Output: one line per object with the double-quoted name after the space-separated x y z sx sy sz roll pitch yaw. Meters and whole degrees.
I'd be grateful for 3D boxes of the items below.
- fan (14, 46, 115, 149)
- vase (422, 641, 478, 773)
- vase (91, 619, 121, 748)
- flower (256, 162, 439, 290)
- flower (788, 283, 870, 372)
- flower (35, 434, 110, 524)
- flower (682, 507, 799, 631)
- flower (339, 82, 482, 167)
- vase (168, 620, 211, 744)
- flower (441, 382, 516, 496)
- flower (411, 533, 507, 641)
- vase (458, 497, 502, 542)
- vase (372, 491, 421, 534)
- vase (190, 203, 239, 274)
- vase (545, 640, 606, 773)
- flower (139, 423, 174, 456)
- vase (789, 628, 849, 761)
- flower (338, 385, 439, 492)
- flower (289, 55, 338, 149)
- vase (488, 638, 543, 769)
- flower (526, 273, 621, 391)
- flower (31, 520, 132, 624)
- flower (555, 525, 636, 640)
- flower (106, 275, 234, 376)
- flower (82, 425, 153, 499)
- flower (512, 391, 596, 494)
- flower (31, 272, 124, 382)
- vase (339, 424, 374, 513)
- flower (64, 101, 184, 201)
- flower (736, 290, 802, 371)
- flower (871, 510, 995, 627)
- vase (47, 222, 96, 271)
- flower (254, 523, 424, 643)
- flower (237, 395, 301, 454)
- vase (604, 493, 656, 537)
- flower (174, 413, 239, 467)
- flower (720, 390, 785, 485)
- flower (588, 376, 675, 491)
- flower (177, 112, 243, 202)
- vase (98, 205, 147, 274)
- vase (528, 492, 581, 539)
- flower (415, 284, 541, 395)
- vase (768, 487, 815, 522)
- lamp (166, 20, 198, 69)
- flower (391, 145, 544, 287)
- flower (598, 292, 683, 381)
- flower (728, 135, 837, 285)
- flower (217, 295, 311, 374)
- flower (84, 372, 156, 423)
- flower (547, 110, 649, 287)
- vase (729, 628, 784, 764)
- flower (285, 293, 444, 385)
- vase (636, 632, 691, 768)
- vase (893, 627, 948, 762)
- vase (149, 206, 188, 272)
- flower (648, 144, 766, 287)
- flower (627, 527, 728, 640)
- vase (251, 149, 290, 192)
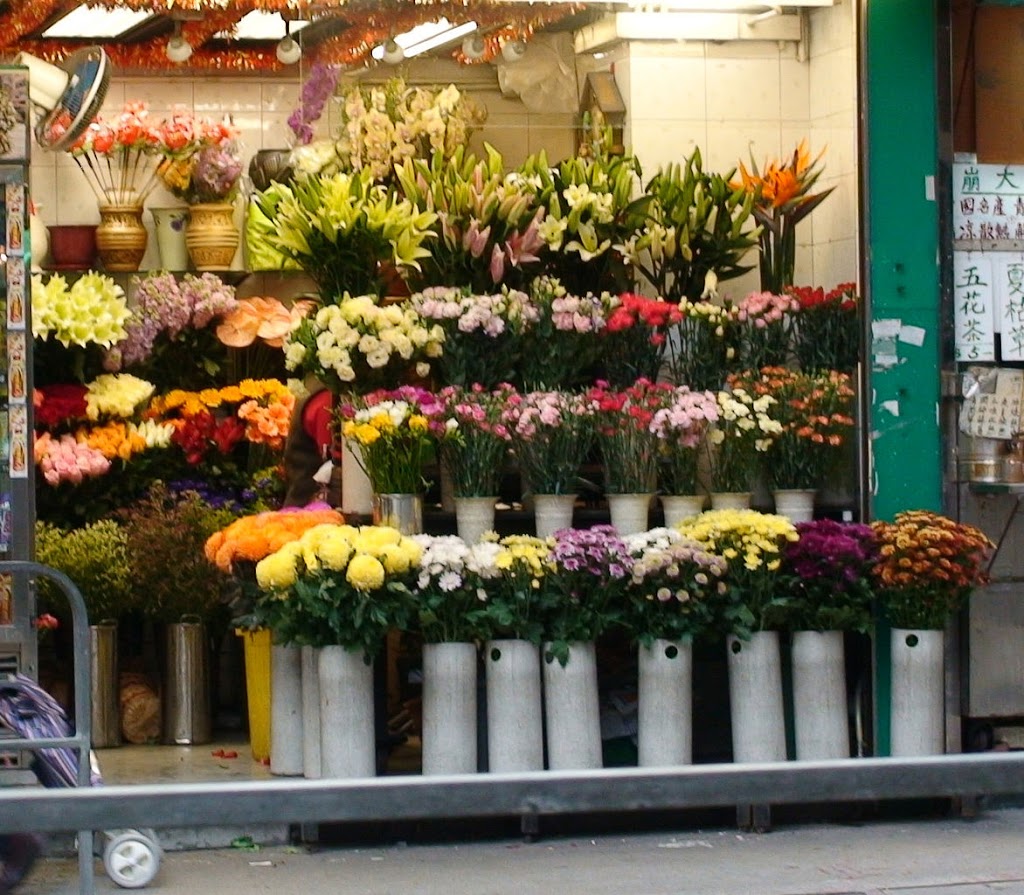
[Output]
-1.720 -1.345 9.089 0.187 0.393 0.522 -3 0 -44 "fan"
-0.219 0.883 8.112 0.187 0.453 0.073 -3 0 -5 "vase"
-1.575 0.917 9.178 0.099 0.484 0.124 0 8 -11 "vase"
-0.669 -0.777 8.745 0.746 0.475 0.498 -3 1 40 "flower"
1.165 -0.418 8.752 0.275 0.388 0.273 -1 -4 12 "flower"
-1.753 0.114 9.428 0.292 0.382 0.313 1 2 20 "flower"
0.815 0.391 8.302 0.366 0.451 0.380 -3 2 -37 "flower"
-0.400 -1.159 9.028 0.331 0.381 0.374 -6 8 -44 "flower"
-1.260 0.903 9.166 0.167 0.483 0.096 -3 0 -10 "vase"
-0.122 -0.023 8.362 0.292 0.494 0.336 0 -4 1 "flower"
-0.170 0.497 8.149 0.278 0.423 0.361 0 -5 30 "flower"
-0.123 0.253 8.379 0.136 0.171 0.136 2 -3 -10 "vase"
-0.404 0.219 8.289 0.127 0.160 0.131 -3 5 -36 "vase"
-1.237 -0.839 9.725 0.224 0.322 0.242 0 -6 -10 "vase"
0.205 0.884 8.154 0.173 0.431 0.091 -3 0 -7 "vase"
-1.429 -0.037 9.479 0.092 0.085 0.109 1 -3 7 "flower"
1.086 0.871 8.419 0.191 0.448 0.233 -3 0 7 "vase"
-0.428 -0.030 8.315 0.312 0.389 0.337 -2 1 2 "flower"
-0.769 -1.327 9.152 0.081 0.317 0.290 -3 0 -31 "flower"
0.001 0.882 8.155 0.190 0.448 0.102 -3 0 -2 "vase"
0.229 -0.408 8.764 0.303 0.444 0.375 4 -1 12 "flower"
-1.626 0.497 9.172 0.336 0.453 0.354 1 -5 17 "flower"
0.249 0.473 8.255 0.283 0.434 0.380 3 -3 -7 "flower"
-1.360 -0.512 9.597 0.366 0.553 0.455 2 6 27 "flower"
-1.570 0.054 9.485 0.262 0.323 0.249 -4 -9 35 "flower"
0.149 -0.017 8.414 0.297 0.395 0.312 0 0 -9 "flower"
-1.746 -0.475 9.498 0.365 0.461 0.407 -3 1 21 "flower"
-0.556 0.053 8.655 0.128 0.123 0.490 -3 41 3 "vase"
-1.565 -1.189 9.599 0.349 0.426 0.382 -5 -1 0 "flower"
0.925 -0.404 8.808 0.217 0.279 0.220 9 -5 -32 "flower"
1.467 0.462 8.494 0.403 0.486 0.378 4 -10 -14 "flower"
-1.790 -0.816 9.643 0.170 0.152 0.182 -1 5 -16 "vase"
-0.586 0.467 7.981 0.432 0.346 0.402 0 0 -4 "flower"
-0.975 -0.108 9.539 0.205 0.165 0.211 -12 24 -32 "flower"
0.416 0.241 8.504 0.124 0.112 0.134 1 -3 -8 "vase"
-1.233 -0.038 9.639 0.196 0.199 0.218 3 -2 -7 "flower"
0.835 -0.032 8.593 0.277 0.358 0.281 3 1 -2 "flower"
0.418 -0.035 8.482 0.307 0.408 0.124 -3 0 -27 "flower"
-1.201 -1.161 9.588 0.249 0.376 0.277 -4 11 -30 "flower"
-1.585 -0.835 9.676 0.218 0.312 0.236 -1 -4 -5 "vase"
0.143 0.243 8.408 0.130 0.130 0.143 1 0 8 "vase"
-0.076 -0.361 8.715 0.364 0.506 0.483 2 12 27 "flower"
1.021 0.209 8.628 0.107 0.095 0.117 2 1 -2 "vase"
-1.306 -1.573 9.297 0.106 0.125 0.246 3 -18 -8 "lamp"
-0.126 -0.805 8.841 0.471 0.620 0.496 2 -1 19 "flower"
0.464 -0.407 8.753 0.261 0.355 0.291 3 -4 0 "flower"
1.010 -0.819 9.022 0.319 0.568 0.376 -4 16 -8 "flower"
-1.025 -0.530 9.677 0.282 0.108 0.196 -6 -29 -29 "flower"
-1.581 -0.206 9.450 0.158 0.127 0.214 -4 8 -2 "flower"
0.310 -0.891 8.874 0.424 0.742 0.464 0 -1 -26 "flower"
0.853 0.873 8.338 0.193 0.457 0.240 -3 0 5 "vase"
-0.563 -0.341 8.591 0.409 0.318 0.481 -5 24 22 "flower"
0.514 0.924 8.295 0.173 0.493 0.194 1 20 -4 "vase"
1.428 0.907 8.500 0.167 0.458 0.165 5 -13 -19 "vase"
-1.410 -0.853 9.766 0.203 0.307 0.220 -1 5 -8 "vase"
0.697 -0.836 8.909 0.430 0.556 0.468 3 4 44 "flower"
0.555 0.452 8.264 0.360 0.436 0.332 1 1 2 "flower"
-0.974 -1.109 9.499 0.149 0.187 0.154 5 4 33 "vase"
